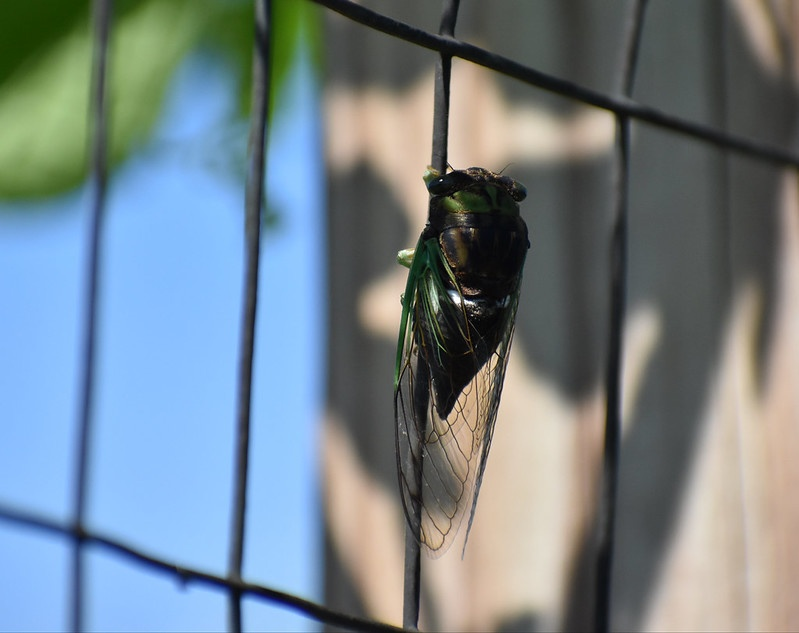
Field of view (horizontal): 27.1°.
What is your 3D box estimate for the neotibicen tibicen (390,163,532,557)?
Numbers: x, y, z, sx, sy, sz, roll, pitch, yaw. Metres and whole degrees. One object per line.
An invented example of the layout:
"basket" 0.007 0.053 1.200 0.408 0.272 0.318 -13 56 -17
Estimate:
"neotibicen tibicen" 0.066 0.024 2.195 0.149 0.188 0.567 5 -84 -5
